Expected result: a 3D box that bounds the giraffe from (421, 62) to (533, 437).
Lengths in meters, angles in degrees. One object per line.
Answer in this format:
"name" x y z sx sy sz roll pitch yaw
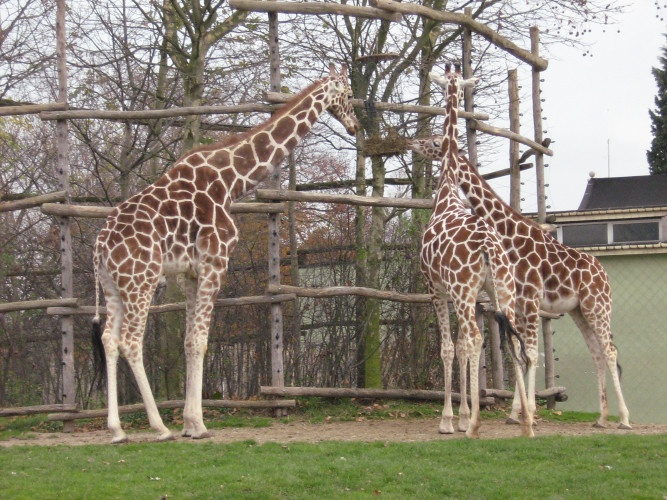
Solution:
"giraffe" 2.058 -0.129 21.087 1.046 5.846 1.559 3 -8 -28
